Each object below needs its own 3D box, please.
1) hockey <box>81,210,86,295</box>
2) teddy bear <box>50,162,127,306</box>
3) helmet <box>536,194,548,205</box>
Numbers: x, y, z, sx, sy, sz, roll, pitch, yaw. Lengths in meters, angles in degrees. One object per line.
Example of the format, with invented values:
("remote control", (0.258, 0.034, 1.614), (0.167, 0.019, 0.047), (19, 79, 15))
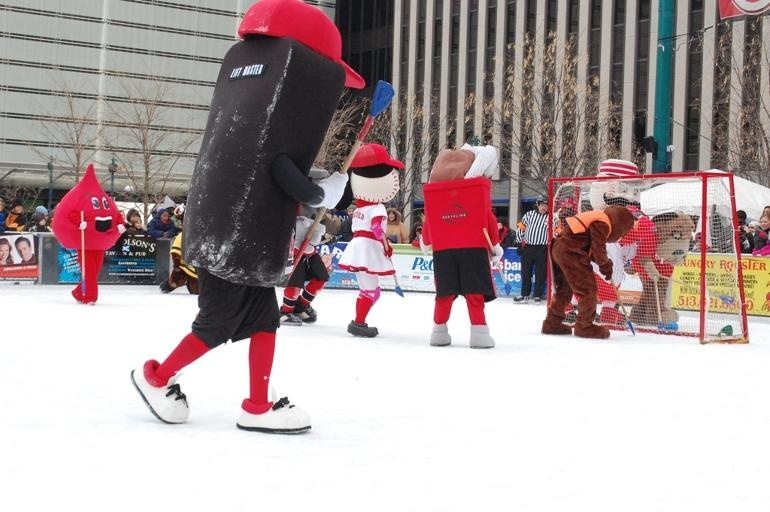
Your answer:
("hockey", (-4.515, -0.053, 13.086), (0.075, 1.194, 0.458), (-1, 7, -19))
("teddy bear", (-4.516, -0.336, 13.324), (1.027, 2.107, 1.020), (-1, 7, -21))
("helmet", (2.808, -1.012, 15.751), (0.163, 0.179, 0.214), (7, 1, -4))
